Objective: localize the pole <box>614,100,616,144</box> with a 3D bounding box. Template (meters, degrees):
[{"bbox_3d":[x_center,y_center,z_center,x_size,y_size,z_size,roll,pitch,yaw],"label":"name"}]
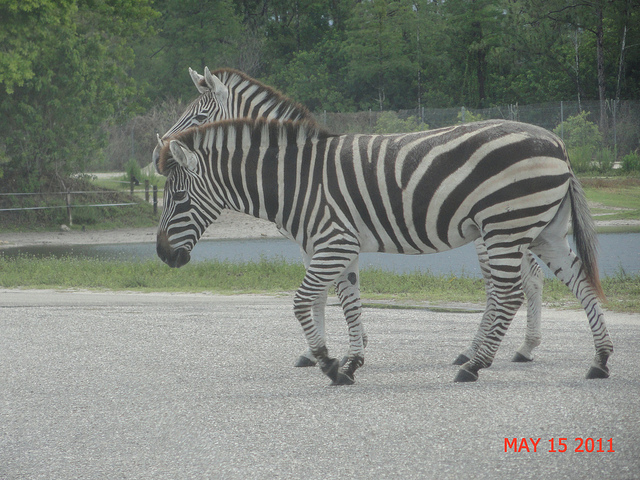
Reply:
[{"bbox_3d":[13.425,-5.326,53.055,0.063,1.871,0.539,-1,5,13],"label":"pole"}]

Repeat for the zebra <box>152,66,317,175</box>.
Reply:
[{"bbox_3d":[-1.392,-2.542,26.614,4.647,2.645,1.226,0,7,-37],"label":"zebra"}]
